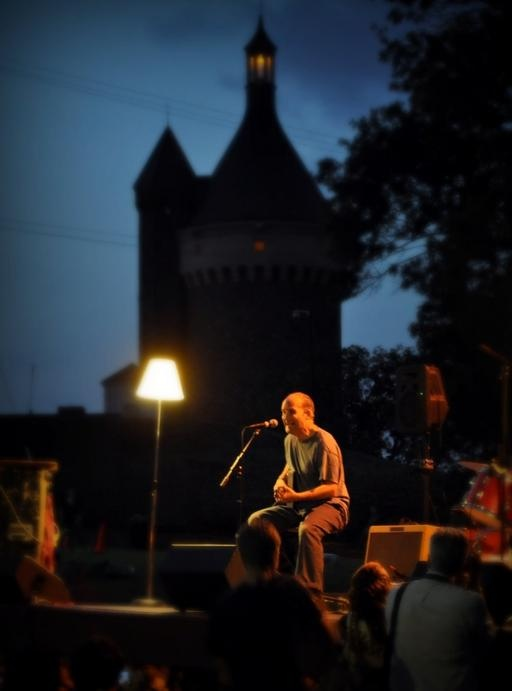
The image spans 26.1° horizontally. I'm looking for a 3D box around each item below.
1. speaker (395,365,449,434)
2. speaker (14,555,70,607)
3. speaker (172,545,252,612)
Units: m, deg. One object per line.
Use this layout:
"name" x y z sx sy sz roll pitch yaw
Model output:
"speaker" 1.369 0.394 9.144 0.352 0.613 0.376 6 -14 -5
"speaker" -1.588 1.705 7.939 0.129 0.287 0.414 6 -28 40
"speaker" -0.330 1.479 7.338 0.518 0.393 0.474 1 10 11
